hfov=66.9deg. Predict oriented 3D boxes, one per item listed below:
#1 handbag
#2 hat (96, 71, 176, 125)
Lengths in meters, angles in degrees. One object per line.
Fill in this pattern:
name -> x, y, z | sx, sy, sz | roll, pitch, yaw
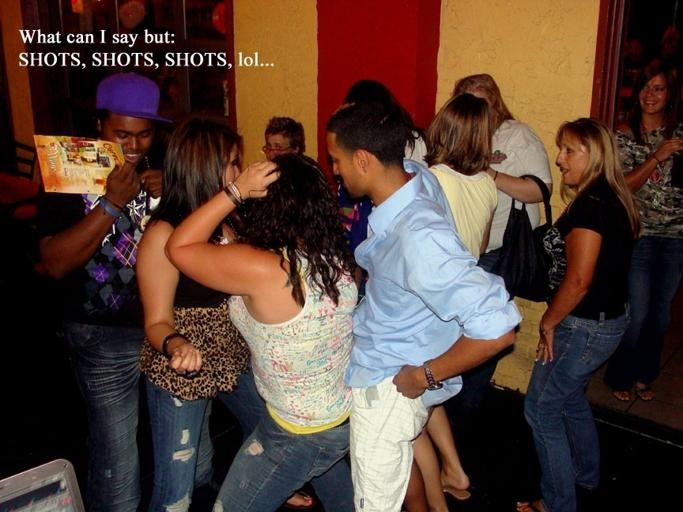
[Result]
handbag -> 1.228, -0.102, 3.459 | 0.314, 0.748, 0.609 | 5, 18, 17
hat -> -1.228, -0.948, 3.079 | 0.411, 0.237, 0.283 | 16, 14, 28
